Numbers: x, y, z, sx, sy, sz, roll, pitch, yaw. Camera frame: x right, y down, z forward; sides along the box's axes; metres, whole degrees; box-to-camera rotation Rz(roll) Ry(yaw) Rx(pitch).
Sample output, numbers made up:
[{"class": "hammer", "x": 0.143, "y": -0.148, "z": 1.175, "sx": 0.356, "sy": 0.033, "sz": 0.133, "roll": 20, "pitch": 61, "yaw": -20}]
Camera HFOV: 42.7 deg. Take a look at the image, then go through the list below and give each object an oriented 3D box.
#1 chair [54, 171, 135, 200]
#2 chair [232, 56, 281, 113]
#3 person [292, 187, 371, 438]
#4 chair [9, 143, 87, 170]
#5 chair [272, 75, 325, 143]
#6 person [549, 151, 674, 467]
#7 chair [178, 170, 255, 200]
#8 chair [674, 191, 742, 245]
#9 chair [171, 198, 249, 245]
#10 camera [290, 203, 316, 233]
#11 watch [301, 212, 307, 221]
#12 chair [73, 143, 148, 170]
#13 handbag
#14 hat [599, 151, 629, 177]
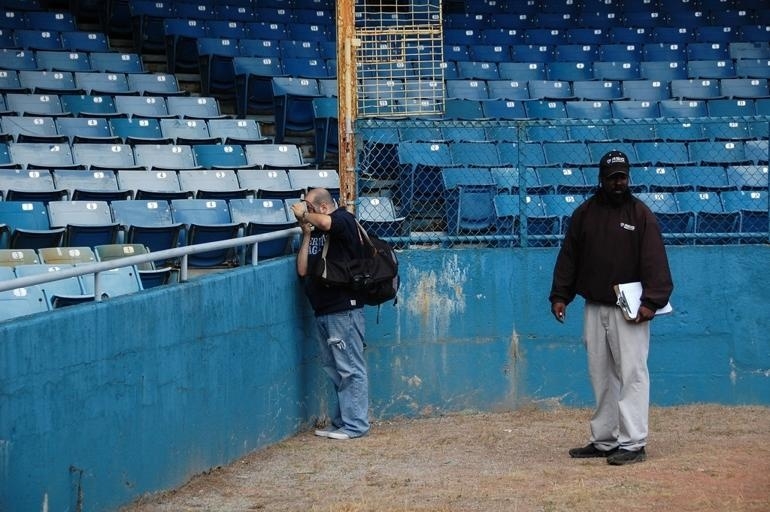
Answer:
[{"class": "chair", "x": -3.625, "y": -0.878, "z": 12.731, "sx": 0.866, "sy": 0.458, "sz": 0.902, "roll": -2, "pitch": 4, "yaw": -36}, {"class": "chair", "x": -2.167, "y": -2.876, "z": 16.651, "sx": 0.810, "sy": 1.071, "sz": 0.685, "roll": -11, "pitch": 15, "yaw": -34}, {"class": "person", "x": -0.625, "y": 0.591, "z": 10.178, "sx": 1.084, "sy": 2.337, "sz": 0.854, "roll": 2, "pitch": -2, "yaw": 1}, {"class": "chair", "x": -4.599, "y": -1.381, "z": 13.272, "sx": 0.830, "sy": 0.293, "sz": 0.349, "roll": -2, "pitch": 4, "yaw": -19}, {"class": "chair", "x": -1.364, "y": -2.394, "z": 15.988, "sx": 0.870, "sy": 1.105, "sz": 0.736, "roll": -5, "pitch": 11, "yaw": -22}, {"class": "person", "x": 2.244, "y": 0.444, "z": 9.684, "sx": 1.207, "sy": 2.660, "sz": 1.392, "roll": 0, "pitch": 2, "yaw": 16}, {"class": "chair", "x": -2.214, "y": -0.971, "z": 13.299, "sx": 0.996, "sy": 0.421, "sz": 0.866, "roll": 0, "pitch": 5, "yaw": -22}, {"class": "chair", "x": 4.018, "y": -0.514, "z": 12.299, "sx": 0.754, "sy": 0.619, "sz": 1.662, "roll": 0, "pitch": 3, "yaw": 16}, {"class": "chair", "x": -2.220, "y": -0.462, "z": 12.272, "sx": 0.786, "sy": 0.573, "sz": 0.664, "roll": 0, "pitch": -9, "yaw": -25}, {"class": "camera", "x": -0.766, "y": -0.382, "z": 9.751, "sx": 0.108, "sy": 0.278, "sz": 0.219, "roll": -19, "pitch": 2, "yaw": -20}, {"class": "watch", "x": -0.786, "y": -0.392, "z": 9.690, "sx": 0.051, "sy": 0.082, "sz": 0.032, "roll": -2, "pitch": 4, "yaw": -3}, {"class": "chair", "x": -3.765, "y": -1.397, "z": 13.565, "sx": 1.009, "sy": 0.406, "sz": 0.857, "roll": -2, "pitch": 5, "yaw": -15}, {"class": "handbag", "x": -0.219, "y": 0.063, "z": 9.904, "sx": 0.996, "sy": 0.822, "sz": 0.701, "roll": 4, "pitch": -7, "yaw": -8}, {"class": "hat", "x": 2.145, "y": -0.858, "z": 9.228, "sx": 0.257, "sy": 0.243, "sz": 0.215, "roll": 0, "pitch": 4, "yaw": 15}]
